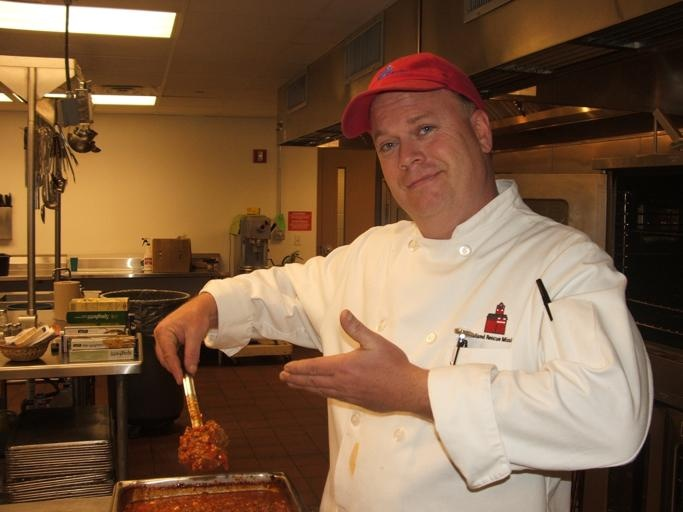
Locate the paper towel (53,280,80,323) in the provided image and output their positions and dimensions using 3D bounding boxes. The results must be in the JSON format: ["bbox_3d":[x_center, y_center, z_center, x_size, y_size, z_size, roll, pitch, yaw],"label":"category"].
[{"bbox_3d":[-1.672,0.291,3.396,0.196,0.297,0.191,0,11,-21],"label":"paper towel"}]
